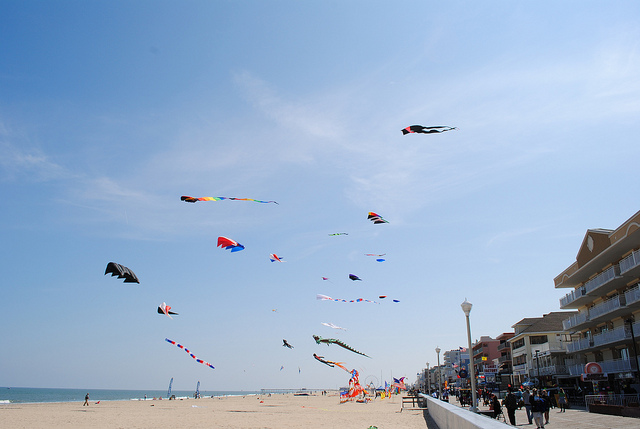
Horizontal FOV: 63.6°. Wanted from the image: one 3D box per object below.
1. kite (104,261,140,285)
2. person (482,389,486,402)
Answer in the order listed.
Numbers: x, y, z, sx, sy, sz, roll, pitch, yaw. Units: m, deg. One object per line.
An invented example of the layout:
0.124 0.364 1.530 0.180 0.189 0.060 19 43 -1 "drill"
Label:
-13.852 4.022 35.473 1.778 1.384 1.941 6 -28 -9 "kite"
17.555 19.234 55.304 0.238 0.980 1.637 -6 -28 15 "person"
